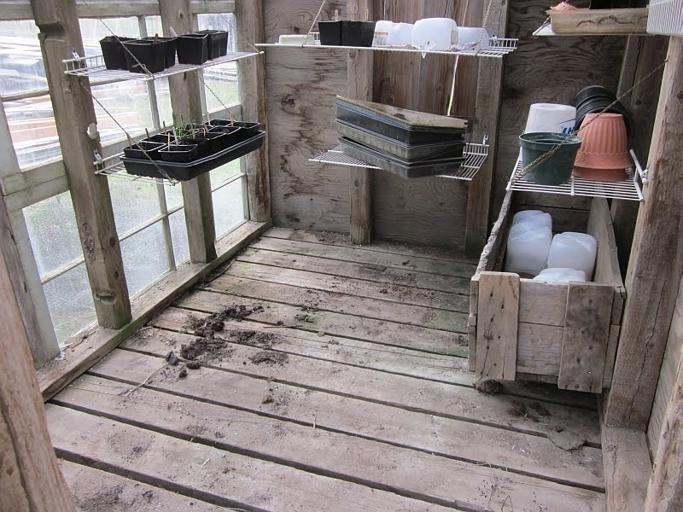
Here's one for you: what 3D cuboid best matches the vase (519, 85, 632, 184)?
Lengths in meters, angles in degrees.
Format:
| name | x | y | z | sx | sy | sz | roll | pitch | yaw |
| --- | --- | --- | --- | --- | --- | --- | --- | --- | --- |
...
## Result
| name | x | y | z | sx | sy | sz | roll | pitch | yaw |
| --- | --- | --- | --- | --- | --- | --- | --- | --- | --- |
| vase | 0.786 | -0.454 | 1.822 | 0.359 | 0.180 | 0.501 | -8 | 27 | -2 |

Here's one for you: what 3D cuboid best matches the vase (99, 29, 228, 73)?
| name | x | y | z | sx | sy | sz | roll | pitch | yaw |
| --- | --- | --- | --- | --- | --- | --- | --- | --- | --- |
| vase | -0.715 | -0.857 | 2.073 | 0.267 | 0.147 | 0.554 | 8 | 25 | 16 |

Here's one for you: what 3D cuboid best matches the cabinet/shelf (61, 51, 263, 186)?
| name | x | y | z | sx | sy | sz | roll | pitch | yaw |
| --- | --- | --- | --- | --- | --- | --- | --- | --- | --- |
| cabinet/shelf | -0.662 | -0.658 | 2.208 | 0.462 | 0.434 | 0.755 | 13 | 32 | 36 |

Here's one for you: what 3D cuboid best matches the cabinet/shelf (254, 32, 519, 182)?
| name | x | y | z | sx | sy | sz | roll | pitch | yaw |
| --- | --- | --- | --- | --- | --- | --- | --- | --- | --- |
| cabinet/shelf | 0.278 | -0.705 | 2.516 | 1.038 | 0.778 | 0.903 | 8 | 27 | 17 |

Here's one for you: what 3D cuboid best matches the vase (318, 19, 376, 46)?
| name | x | y | z | sx | sy | sz | roll | pitch | yaw |
| --- | --- | --- | --- | --- | --- | --- | --- | --- | --- |
| vase | 0.027 | -0.984 | 2.199 | 0.279 | 0.125 | 0.058 | 4 | 34 | 10 |
